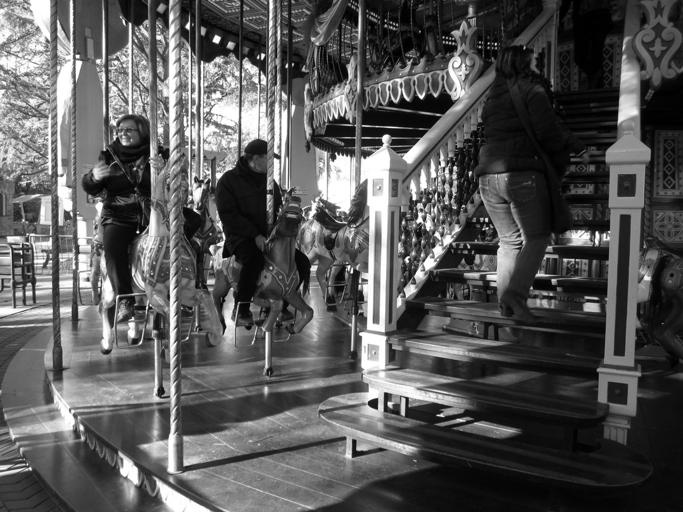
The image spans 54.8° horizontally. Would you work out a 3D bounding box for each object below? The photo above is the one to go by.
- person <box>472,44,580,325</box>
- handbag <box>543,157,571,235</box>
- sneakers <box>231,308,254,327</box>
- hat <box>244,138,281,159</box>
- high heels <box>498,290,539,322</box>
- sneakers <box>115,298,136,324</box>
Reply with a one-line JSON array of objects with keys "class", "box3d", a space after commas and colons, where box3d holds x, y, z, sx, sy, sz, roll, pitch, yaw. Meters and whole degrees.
[{"class": "person", "box3d": [1.516, -0.630, 5.496, 0.771, 2.273, 0.503, 2, 8, 20]}, {"class": "handbag", "box3d": [1.816, -0.512, 5.464, 0.196, 0.625, 0.286, 5, 10, 37]}, {"class": "sneakers", "box3d": [-0.970, 0.599, 6.499, 0.106, 0.145, 0.314, 2, -6, -19]}, {"class": "hat", "box3d": [-0.810, -1.101, 6.622, 0.280, 0.164, 0.181, -9, 13, -33]}, {"class": "high heels", "box3d": [1.440, 0.425, 5.418, 0.303, 0.188, 0.212, 19, 10, 28]}, {"class": "sneakers", "box3d": [-2.084, 0.513, 6.341, 0.097, 0.242, 0.314, 0, -19, -6]}]
